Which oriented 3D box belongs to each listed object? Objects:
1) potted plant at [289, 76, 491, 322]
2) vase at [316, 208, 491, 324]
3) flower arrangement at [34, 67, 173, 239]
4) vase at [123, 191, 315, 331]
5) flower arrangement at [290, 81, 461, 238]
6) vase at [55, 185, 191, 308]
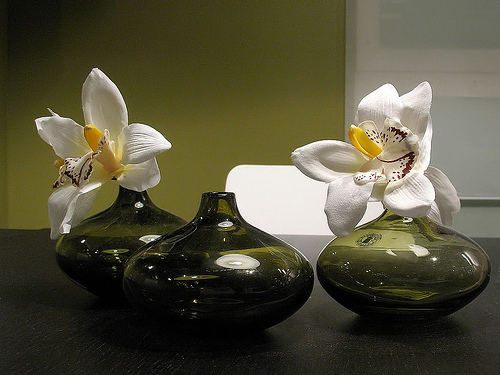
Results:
[{"bbox_3d":[0.156,0.009,0.707,0.284,0.362,0.264,0,-1,-26],"label":"potted plant"},{"bbox_3d":[0.184,0.070,0.577,0.151,0.131,0.145,0,-3,-44],"label":"vase"},{"bbox_3d":[-0.174,-0.040,0.556,0.109,0.205,0.148,-5,9,-36],"label":"flower arrangement"},{"bbox_3d":[-0.038,0.083,0.575,0.232,0.143,0.221,1,1,4],"label":"vase"},{"bbox_3d":[0.159,-0.023,0.555,0.193,0.156,0.164,-11,-10,19],"label":"flower arrangement"},{"bbox_3d":[-0.159,0.054,0.642,0.186,0.168,0.186,3,2,31],"label":"vase"}]
